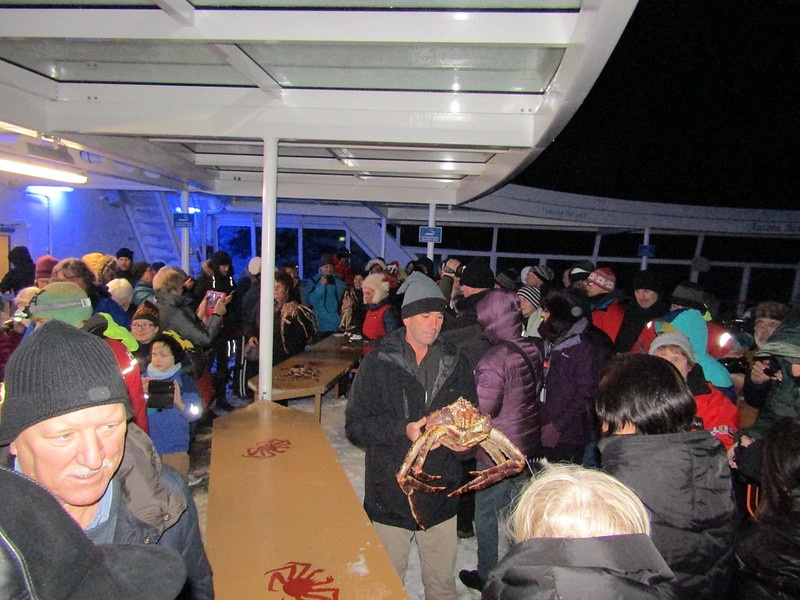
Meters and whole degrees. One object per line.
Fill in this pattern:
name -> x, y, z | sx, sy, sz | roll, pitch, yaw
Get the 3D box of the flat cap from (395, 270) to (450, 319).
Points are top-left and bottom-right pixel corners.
flat cap -> 0.129, -0.045, 3.478 | 0.276, 0.283, 0.334 | -13, -30, -5

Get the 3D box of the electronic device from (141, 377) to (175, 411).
electronic device -> -1.762, 0.686, 4.029 | 0.255, 0.210, 0.063 | -5, -12, 5

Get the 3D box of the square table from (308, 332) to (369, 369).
square table -> -0.856, 0.690, 7.574 | 0.532, 0.230, 1.068 | 1, 9, 2

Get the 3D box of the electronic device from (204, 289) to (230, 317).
electronic device -> -2.166, 0.045, 6.524 | 0.325, 0.268, 0.084 | -1, -12, 28
